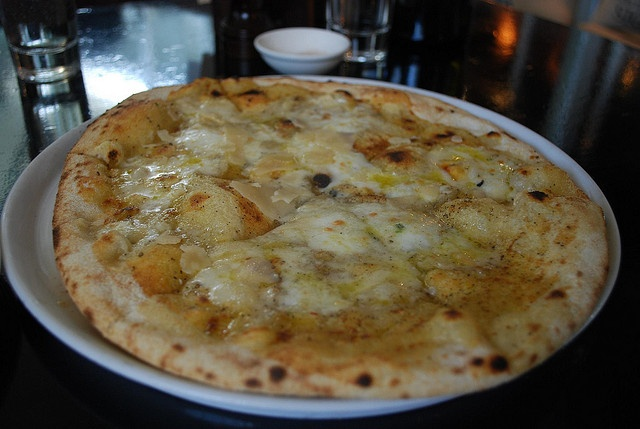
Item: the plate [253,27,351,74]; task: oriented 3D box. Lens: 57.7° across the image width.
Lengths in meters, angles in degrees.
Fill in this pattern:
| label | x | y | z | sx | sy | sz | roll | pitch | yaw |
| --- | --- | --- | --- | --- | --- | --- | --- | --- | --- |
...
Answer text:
| label | x | y | z | sx | sy | sz | roll | pitch | yaw |
| --- | --- | --- | --- | --- | --- | --- | --- | --- | --- |
| plate | -0.073 | -0.755 | 2.707 | 0.398 | 0.137 | 0.401 | 21 | 39 | 25 |
